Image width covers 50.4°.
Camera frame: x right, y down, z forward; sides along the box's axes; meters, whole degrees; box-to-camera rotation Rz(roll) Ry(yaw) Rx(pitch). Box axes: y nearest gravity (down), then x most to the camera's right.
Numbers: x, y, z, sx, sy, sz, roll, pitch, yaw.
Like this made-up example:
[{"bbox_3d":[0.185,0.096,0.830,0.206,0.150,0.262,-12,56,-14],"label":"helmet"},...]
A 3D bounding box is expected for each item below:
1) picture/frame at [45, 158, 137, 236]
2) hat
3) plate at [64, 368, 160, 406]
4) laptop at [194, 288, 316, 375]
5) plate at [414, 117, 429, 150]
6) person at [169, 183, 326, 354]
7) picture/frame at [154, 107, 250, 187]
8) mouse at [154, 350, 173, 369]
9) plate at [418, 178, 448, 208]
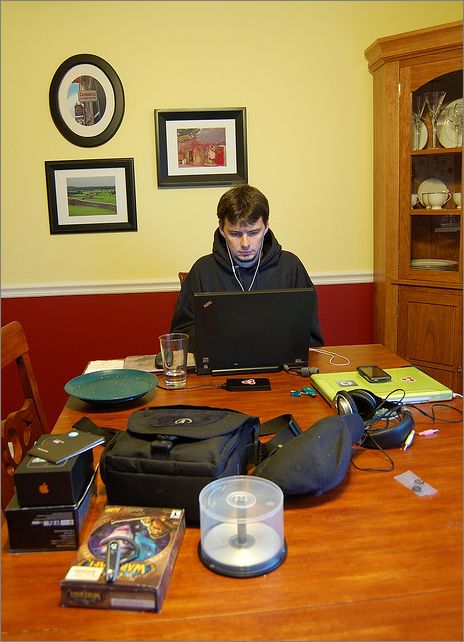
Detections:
[{"bbox_3d":[-0.859,-0.760,2.994,0.523,0.432,0.030,0,10,-3],"label":"picture/frame"},{"bbox_3d":[0.156,0.254,0.906,0.188,0.053,0.115,-32,59,-30],"label":"hat"},{"bbox_3d":[-0.358,0.186,1.471,0.201,0.093,0.251,18,18,40],"label":"plate"},{"bbox_3d":[0.057,-0.016,1.699,0.517,0.284,0.349,-2,14,-3],"label":"laptop"},{"bbox_3d":[1.056,-1.046,2.743,0.128,0.139,0.028,-1,18,1],"label":"plate"},{"bbox_3d":[0.029,-0.278,2.210,0.810,0.869,0.504,-4,33,-1],"label":"person"},{"bbox_3d":[-0.210,-1.068,2.989,0.753,0.585,0.051,1,15,-10],"label":"picture/frame"},{"bbox_3d":[-0.236,0.132,1.648,0.064,0.032,0.089,-6,36,3],"label":"mouse"},{"bbox_3d":[1.144,-0.721,2.793,0.116,0.128,0.184,-1,4,6],"label":"plate"}]
